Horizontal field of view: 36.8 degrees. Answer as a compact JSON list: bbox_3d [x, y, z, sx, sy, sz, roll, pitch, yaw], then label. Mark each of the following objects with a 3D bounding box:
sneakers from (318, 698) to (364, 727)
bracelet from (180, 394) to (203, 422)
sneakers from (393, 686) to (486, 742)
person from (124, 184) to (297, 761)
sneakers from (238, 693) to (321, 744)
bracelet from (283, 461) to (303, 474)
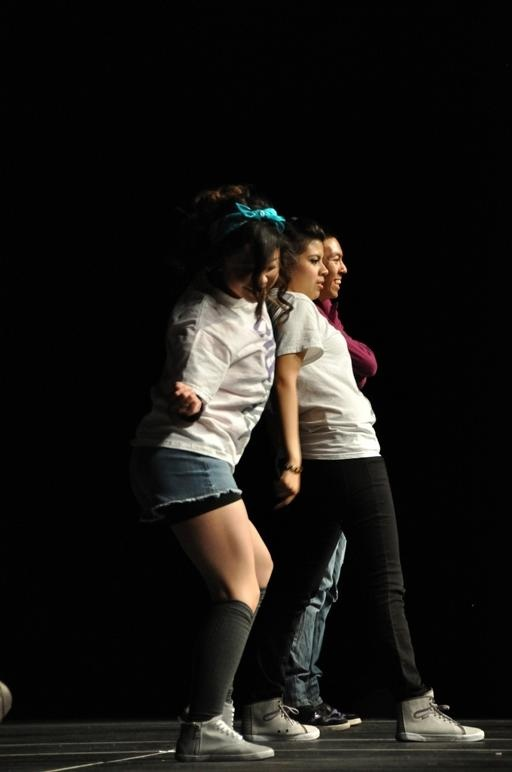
[{"bbox_3d":[0.227,0.857,2.026,0.054,0.055,0.156,-7,-10,34],"label":"sneakers"},{"bbox_3d":[-0.111,0.033,1.297,0.019,0.033,0.046,-6,-38,34],"label":"bracelet"},{"bbox_3d":[0.383,0.743,1.745,0.245,0.130,0.082,2,-10,-8],"label":"sneakers"},{"bbox_3d":[-0.074,0.136,1.423,0.286,1.099,0.260,4,-5,-16],"label":"person"},{"bbox_3d":[0.045,0.755,1.766,0.215,0.103,0.077,1,-3,-13],"label":"sneakers"},{"bbox_3d":[0.074,0.169,1.616,0.025,0.012,0.028,24,-8,-37],"label":"bracelet"}]
